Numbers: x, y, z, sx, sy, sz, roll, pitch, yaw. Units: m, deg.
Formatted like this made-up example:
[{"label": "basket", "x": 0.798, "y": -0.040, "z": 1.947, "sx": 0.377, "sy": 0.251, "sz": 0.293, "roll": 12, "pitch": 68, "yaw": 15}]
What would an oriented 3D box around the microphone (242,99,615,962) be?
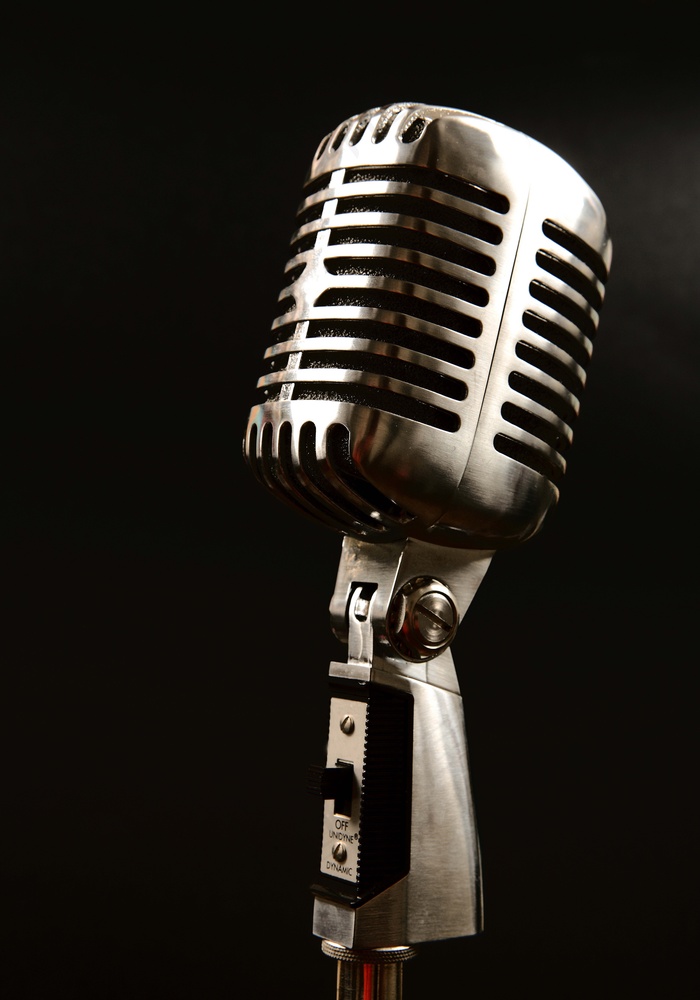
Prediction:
[{"label": "microphone", "x": 0.034, "y": 0.022, "z": 0.903, "sx": 0.233, "sy": 0.575, "sz": 0.171, "roll": 11, "pitch": -11, "yaw": -6}]
